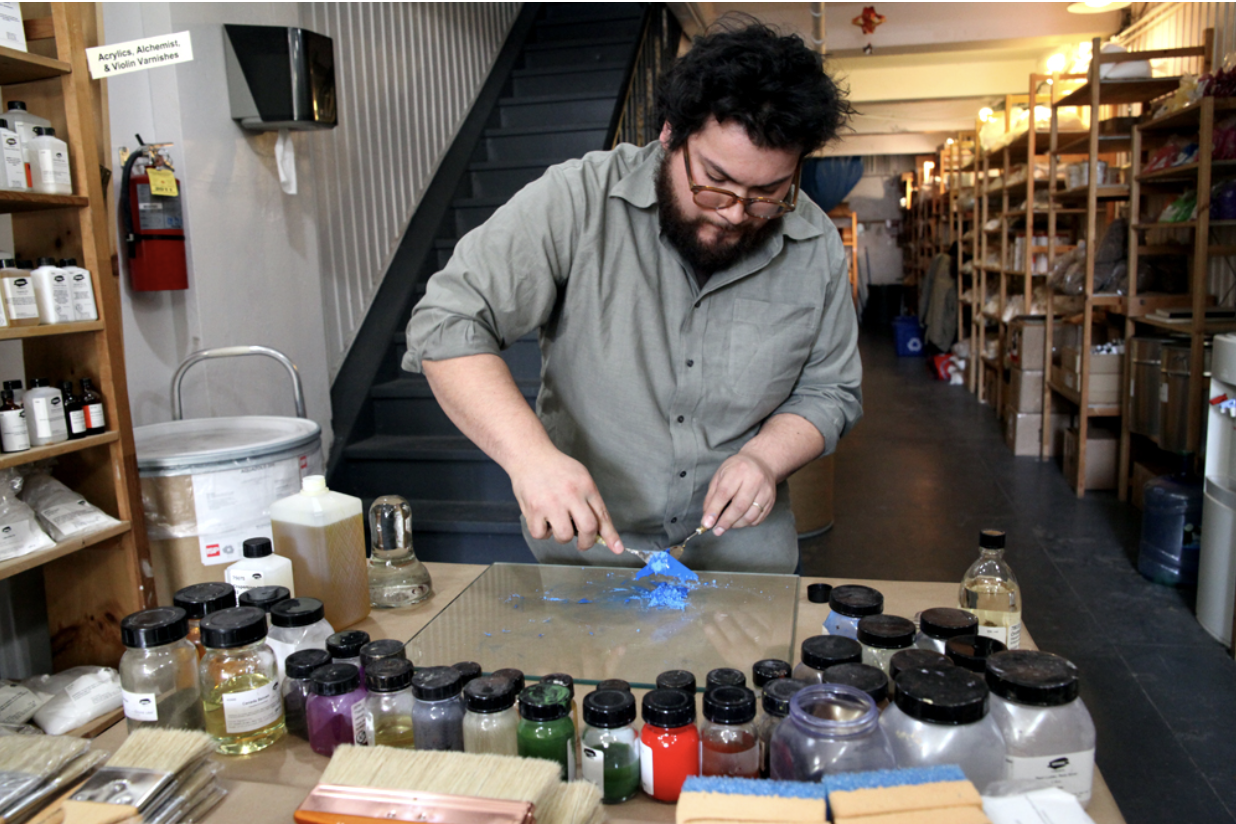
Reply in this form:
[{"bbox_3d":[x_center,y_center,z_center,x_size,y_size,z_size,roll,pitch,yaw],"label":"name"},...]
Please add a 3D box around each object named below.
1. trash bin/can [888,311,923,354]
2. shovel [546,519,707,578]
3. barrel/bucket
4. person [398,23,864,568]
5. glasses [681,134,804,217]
[{"bbox_3d":[3.810,-1.122,11.776,0.561,0.678,0.512,2,13,14],"label":"trash bin/can"},{"bbox_3d":[0.036,0.320,2.031,0.157,0.059,0.330,12,8,20],"label":"shovel"},{"bbox_3d":[-0.968,0.135,2.199,0.459,0.509,0.474,-1,8,0],"label":"barrel/bucket"},{"bbox_3d":[0.086,-0.178,2.018,1.086,1.339,0.690,-6,12,-9],"label":"person"},{"bbox_3d":[0.284,-0.522,1.927,0.280,0.169,0.141,-6,12,-10],"label":"glasses"}]
